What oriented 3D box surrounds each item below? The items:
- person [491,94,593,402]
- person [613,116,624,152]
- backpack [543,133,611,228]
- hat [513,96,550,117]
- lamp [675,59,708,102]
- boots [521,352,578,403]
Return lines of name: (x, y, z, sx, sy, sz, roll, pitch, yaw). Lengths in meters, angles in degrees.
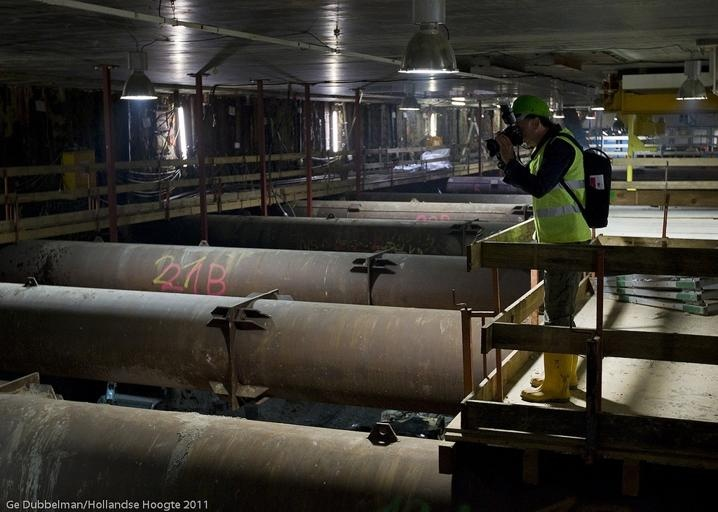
person: (1.344, -0.075, 4.709, 0.608, 2.129, 0.900, 0, 13, 20)
person: (9.261, -4.614, 23.130, 0.350, 0.763, 1.978, 0, 14, 22)
backpack: (1.491, -0.506, 4.766, 0.643, 0.759, 0.445, -1, 7, 13)
hat: (1.270, -1.090, 4.786, 0.223, 0.117, 0.164, 20, 11, 2)
lamp: (5.102, -2.704, 9.945, 0.342, 0.592, 0.633, 3, 15, 31)
boots: (1.332, 0.861, 4.617, 0.389, 0.505, 0.416, 2, 3, 16)
